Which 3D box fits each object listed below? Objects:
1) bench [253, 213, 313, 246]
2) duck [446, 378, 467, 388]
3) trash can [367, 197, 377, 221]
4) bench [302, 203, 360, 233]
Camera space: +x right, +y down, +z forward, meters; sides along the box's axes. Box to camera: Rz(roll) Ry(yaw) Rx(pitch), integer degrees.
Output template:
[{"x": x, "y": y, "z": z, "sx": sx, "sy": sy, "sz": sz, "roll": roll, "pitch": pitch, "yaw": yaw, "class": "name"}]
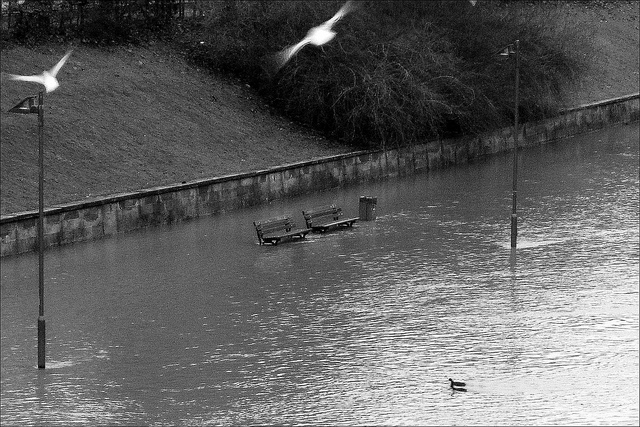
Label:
[{"x": -1.459, "y": 0.610, "z": 65.816, "sx": 1.701, "sy": 1.023, "sz": 2.492, "roll": -2, "pitch": 5, "yaw": 15, "class": "bench"}, {"x": 4.336, "y": 5.354, "z": 53.976, "sx": 0.447, "sy": 0.329, "sz": 0.475, "roll": -2, "pitch": 5, "yaw": 12, "class": "duck"}, {"x": 1.982, "y": -0.214, "z": 68.076, "sx": 0.350, "sy": 0.947, "sz": 0.334, "roll": -4, "pitch": 5, "yaw": -3, "class": "trash can"}, {"x": 0.279, "y": 0.164, "z": 67.289, "sx": 1.571, "sy": 0.981, "sz": 2.650, "roll": -1, "pitch": 5, "yaw": 27, "class": "bench"}]
